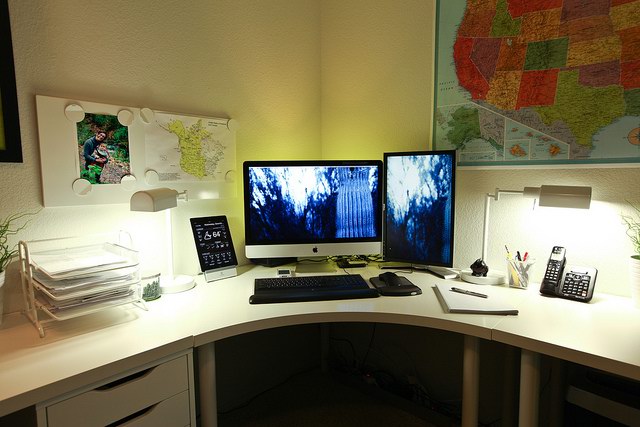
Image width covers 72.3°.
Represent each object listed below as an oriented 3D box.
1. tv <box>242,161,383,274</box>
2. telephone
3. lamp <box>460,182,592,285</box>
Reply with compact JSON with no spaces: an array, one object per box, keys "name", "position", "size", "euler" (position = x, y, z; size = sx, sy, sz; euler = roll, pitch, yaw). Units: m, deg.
[{"name":"tv","position":[-0.043,-0.003,2.526],"size":[0.692,0.482,0.180],"euler":[-1,5,-4]},{"name":"telephone","position":[1.269,0.283,2.314],"size":[0.295,0.298,0.232],"euler":[2,5,34]},{"name":"lamp","position":[1.080,0.114,2.315],"size":[0.628,0.539,0.254],"euler":[3,7,37]}]
